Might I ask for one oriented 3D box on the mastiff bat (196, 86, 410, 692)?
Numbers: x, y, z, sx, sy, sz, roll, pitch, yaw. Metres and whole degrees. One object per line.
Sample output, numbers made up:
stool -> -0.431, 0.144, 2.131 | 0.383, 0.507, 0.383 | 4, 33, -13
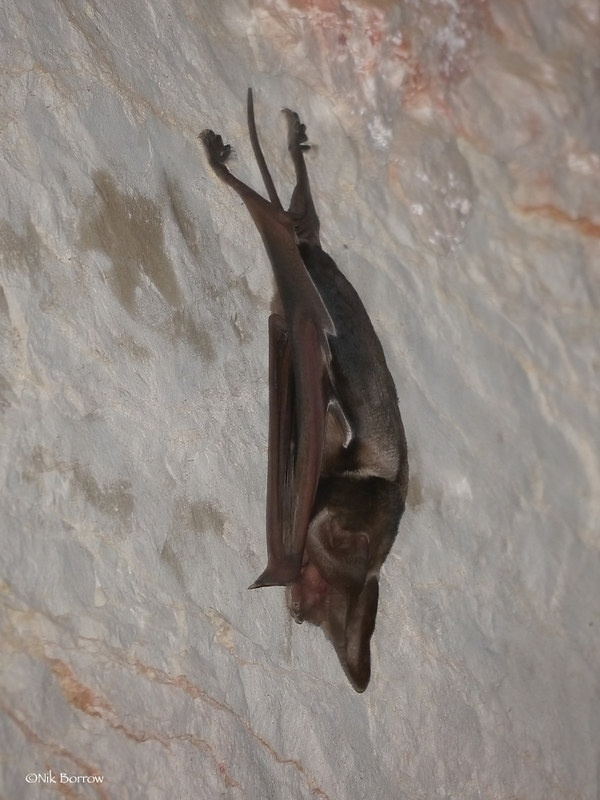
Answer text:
mastiff bat -> 0.049, 0.019, 3.630 | 0.378, 0.380, 1.245 | -7, 83, -1
